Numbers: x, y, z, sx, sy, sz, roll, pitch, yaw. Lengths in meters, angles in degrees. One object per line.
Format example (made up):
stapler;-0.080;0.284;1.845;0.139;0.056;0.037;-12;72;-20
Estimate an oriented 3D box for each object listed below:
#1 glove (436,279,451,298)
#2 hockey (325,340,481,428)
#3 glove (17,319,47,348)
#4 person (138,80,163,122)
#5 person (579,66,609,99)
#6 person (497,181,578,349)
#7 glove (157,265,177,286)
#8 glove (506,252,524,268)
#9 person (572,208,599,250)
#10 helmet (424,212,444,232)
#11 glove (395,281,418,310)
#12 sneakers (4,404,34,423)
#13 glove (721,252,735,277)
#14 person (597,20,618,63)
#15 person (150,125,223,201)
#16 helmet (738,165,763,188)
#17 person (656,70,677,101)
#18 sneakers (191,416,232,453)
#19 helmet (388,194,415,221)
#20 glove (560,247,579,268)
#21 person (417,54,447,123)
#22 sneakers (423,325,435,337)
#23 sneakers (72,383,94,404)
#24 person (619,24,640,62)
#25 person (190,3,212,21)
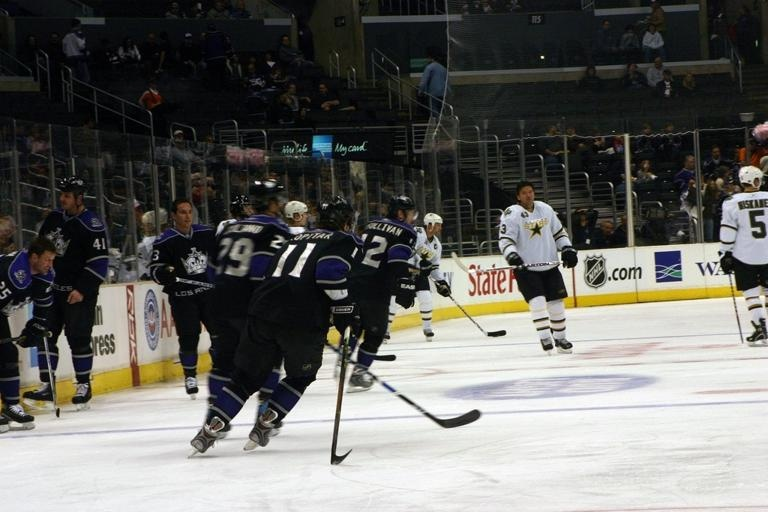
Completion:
glove;0.878;0.463;15.363;0.185;0.248;0.085;-33;7;44
hockey;0.164;1.252;10.670;1.892;0.250;0.243;28;2;37
glove;-3.730;0.834;11.350;0.271;0.323;0.136;26;-9;-13
person;-4.935;-3.297;22.725;0.483;0.922;1.691;-4;0;-11
person;4.784;-4.040;24.723;0.605;0.701;0.168;-4;0;9
person;2.031;0.147;14.178;1.030;2.261;0.661;-4;0;-12
glove;-2.549;0.229;12.425;0.205;0.216;0.240;4;0;-9
glove;1.696;0.065;13.834;0.188;0.193;0.208;-43;-14;1
person;3.870;-0.493;20.794;0.619;0.725;0.542;0;-6;-33
helmet;0.753;-0.549;16.776;0.293;0.191;0.215;-7;14;11
glove;0.295;0.515;14.636;0.357;0.412;0.164;2;0;7
sneakers;-3.846;1.649;11.200;0.323;0.207;0.129;-4;0;14
glove;4.633;0.086;14.456;0.229;0.261;0.107;-1;0;-5
person;5.156;-4.971;24.903;0.429;1.047;0.210;-4;0;11
person;-2.609;-1.138;14.556;0.297;0.976;1.169;-5;-1;25
helmet;5.022;-1.091;14.472;0.401;0.299;0.280;-9;17;-11
person;6.488;-3.935;24.596;0.455;0.658;0.267;-4;0;-28
sneakers;-1.610;1.651;10.004;0.436;0.245;0.187;-46;-1;-3
helmet;0.212;-0.590;12.755;0.349;0.280;0.246;-11;14;-19
glove;2.476;0.020;14.192;0.226;0.254;0.109;0;10;17
person;1.078;-3.714;23.453;0.625;1.500;1.281;-4;0;3
sneakers;0.672;1.159;16.607;0.232;0.128;0.228;-1;14;-10
sneakers;-3.442;1.558;12.158;0.209;0.230;0.225;-4;0;-17
person;5.701;-4.920;24.860;0.466;0.893;0.150;-4;0;12
person;-4.540;-6.024;26.295;0.415;0.516;1.120;-4;0;-8
